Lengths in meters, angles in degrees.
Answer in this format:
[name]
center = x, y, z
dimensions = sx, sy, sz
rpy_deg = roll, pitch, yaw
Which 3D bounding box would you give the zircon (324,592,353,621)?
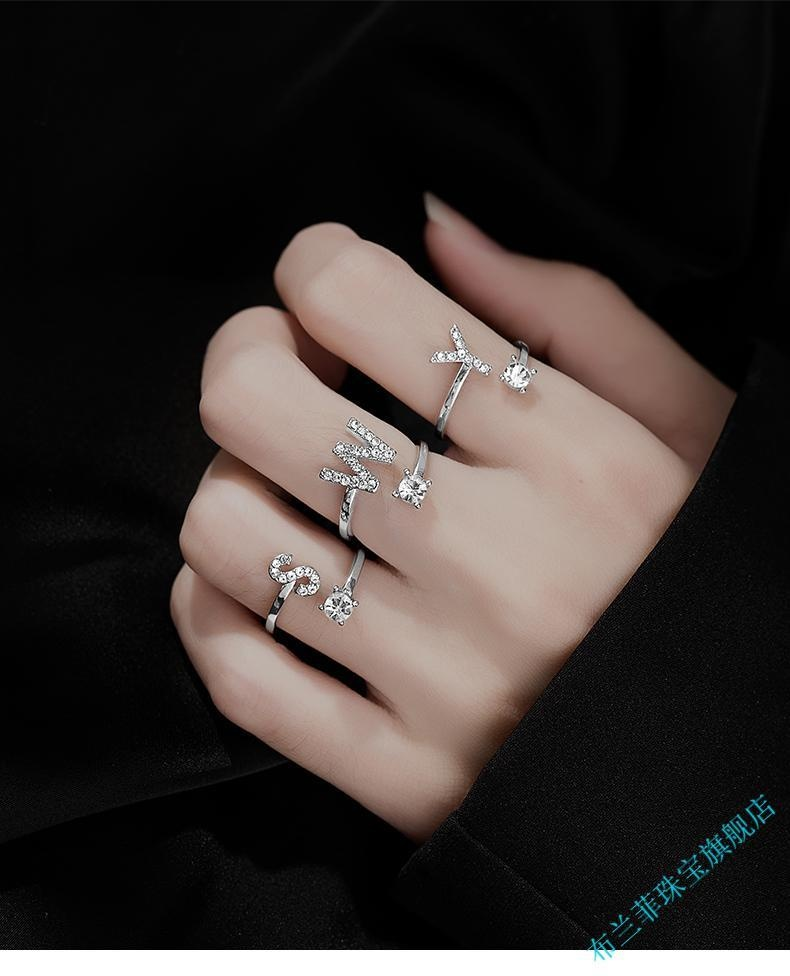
[zircon]
center = -0.055, 0.118, 0.938
dimensions = 0.026, 0.020, 0.028
rpy_deg = 32, 76, 16

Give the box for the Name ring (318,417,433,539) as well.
[Name ring]
center = -0.021, -0.011, 0.923
dimensions = 0.087, 0.036, 0.114
rpy_deg = 25, 76, -11
